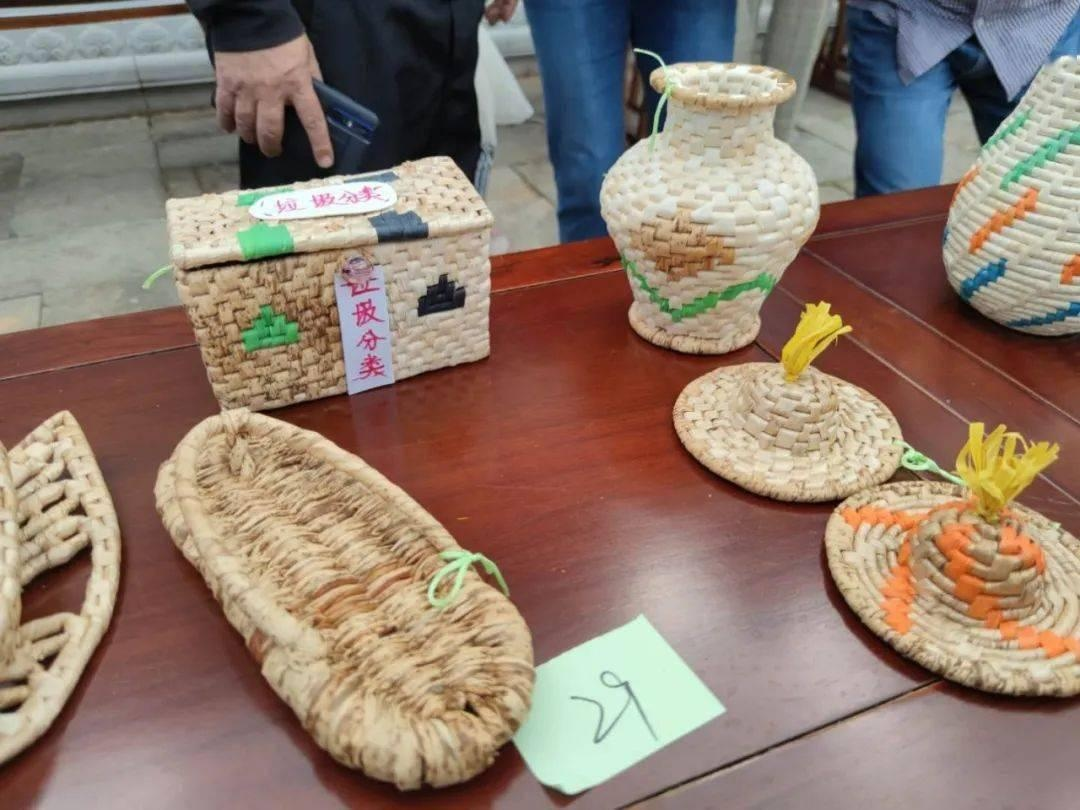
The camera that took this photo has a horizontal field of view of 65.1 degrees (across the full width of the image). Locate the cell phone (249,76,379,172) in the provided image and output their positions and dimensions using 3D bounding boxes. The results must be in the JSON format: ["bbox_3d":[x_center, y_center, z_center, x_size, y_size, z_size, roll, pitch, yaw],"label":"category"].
[{"bbox_3d":[-0.363,-0.458,1.401,0.159,0.052,0.184,-5,83,-10],"label":"cell phone"}]

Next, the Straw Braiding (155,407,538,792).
[{"bbox_3d":[-0.227,0.181,0.929,0.261,0.123,0.482,-28,56,-31],"label":"Straw Braiding"}]
